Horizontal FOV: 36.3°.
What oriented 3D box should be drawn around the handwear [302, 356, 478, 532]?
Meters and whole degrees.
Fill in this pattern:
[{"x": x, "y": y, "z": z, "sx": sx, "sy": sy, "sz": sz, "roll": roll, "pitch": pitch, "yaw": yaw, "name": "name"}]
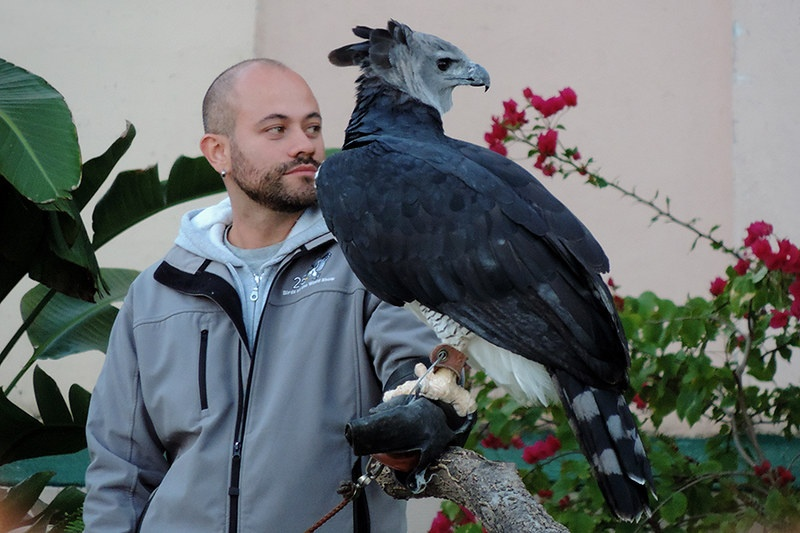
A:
[{"x": 0.049, "y": 0.659, "z": 5.362, "sx": 0.586, "sy": 0.659, "sz": 0.242, "roll": 0, "pitch": -28, "yaw": -7, "name": "handwear"}]
